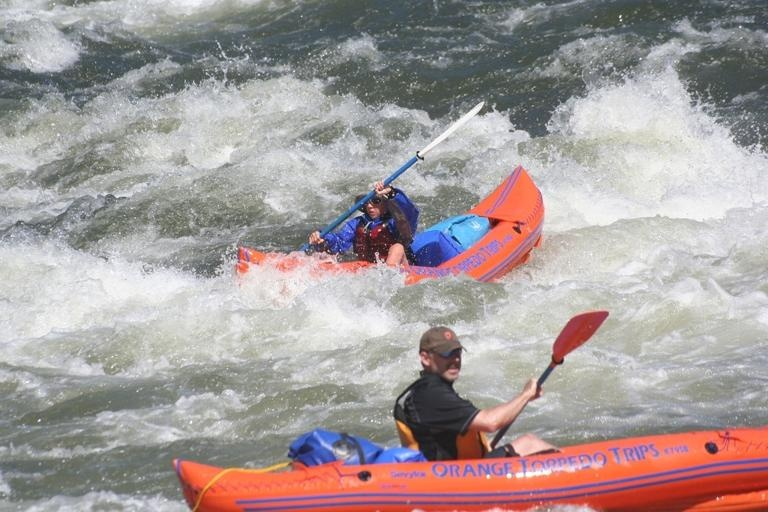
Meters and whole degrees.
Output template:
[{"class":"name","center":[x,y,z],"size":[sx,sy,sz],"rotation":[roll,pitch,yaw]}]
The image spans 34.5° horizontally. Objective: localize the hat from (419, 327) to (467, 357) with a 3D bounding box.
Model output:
[{"class":"hat","center":[0.606,0.922,13.233],"size":[0.401,0.183,0.290],"rotation":[-13,-9,41]}]

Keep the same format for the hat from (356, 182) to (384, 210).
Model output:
[{"class":"hat","center":[-0.184,-0.738,16.247],"size":[0.180,0.353,0.523],"rotation":[-17,9,-28]}]

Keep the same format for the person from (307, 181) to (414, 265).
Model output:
[{"class":"person","center":[-0.278,-0.098,16.280],"size":[1.272,1.448,0.892],"rotation":[-8,-20,13]}]

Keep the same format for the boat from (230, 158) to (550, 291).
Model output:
[{"class":"boat","center":[0.294,-0.219,16.154],"size":[3.564,1.071,1.590],"rotation":[-15,5,-20]}]

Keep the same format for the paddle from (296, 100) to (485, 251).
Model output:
[{"class":"paddle","center":[0.080,-1.031,17.703],"size":[3.677,0.151,0.256],"rotation":[-36,-18,5]}]
